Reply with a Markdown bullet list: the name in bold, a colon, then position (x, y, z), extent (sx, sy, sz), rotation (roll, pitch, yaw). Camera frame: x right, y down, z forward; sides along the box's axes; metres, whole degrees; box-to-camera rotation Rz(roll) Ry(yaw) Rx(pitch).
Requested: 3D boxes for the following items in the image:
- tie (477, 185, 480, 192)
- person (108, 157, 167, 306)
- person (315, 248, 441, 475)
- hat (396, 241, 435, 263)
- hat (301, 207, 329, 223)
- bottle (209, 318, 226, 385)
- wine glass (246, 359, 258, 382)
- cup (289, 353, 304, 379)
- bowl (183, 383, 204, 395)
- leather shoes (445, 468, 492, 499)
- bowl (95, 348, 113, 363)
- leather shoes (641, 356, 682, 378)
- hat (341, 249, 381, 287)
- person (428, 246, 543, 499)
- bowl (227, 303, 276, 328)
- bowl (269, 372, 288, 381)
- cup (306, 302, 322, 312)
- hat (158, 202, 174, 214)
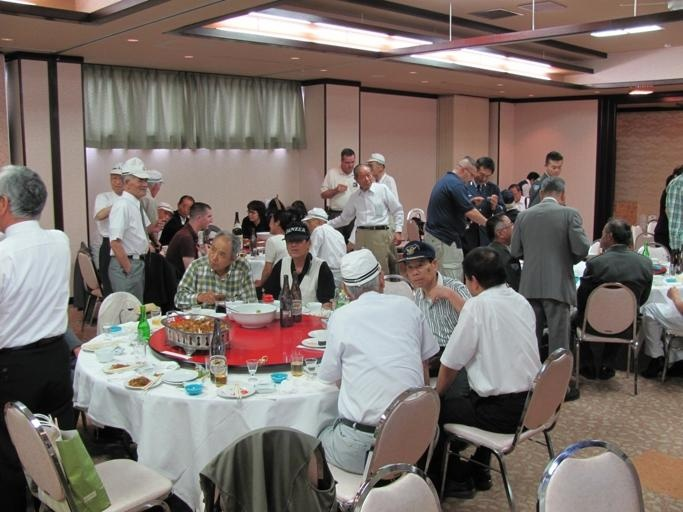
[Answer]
- **tie**: position (1.716, -0.851, 6.899), extent (0.050, 0.078, 0.019), rotation (-3, -7, -5)
- **person**: position (-2.017, -0.205, 5.447), extent (0.553, 2.011, 0.739), rotation (0, 37, -17)
- **person**: position (0.166, 0.618, 2.723), extent (0.558, 0.833, 0.389), rotation (2, 11, 3)
- **hat**: position (0.475, -0.035, 3.533), extent (0.224, 0.124, 0.179), rotation (5, 5, 21)
- **hat**: position (-0.258, -0.420, 5.903), extent (0.219, 0.128, 0.177), rotation (4, 4, -7)
- **bottle**: position (-0.673, 0.498, 2.991), extent (0.091, 0.277, 0.393), rotation (-2, 12, -14)
- **wine glass**: position (-0.462, 0.601, 2.895), extent (0.087, 0.126, 0.096), rotation (0, -1, -2)
- **cup**: position (-0.237, 0.588, 2.954), extent (0.109, 0.147, 0.093), rotation (1, -3, -20)
- **bowl**: position (-0.746, 0.669, 2.788), extent (0.091, 0.040, 0.100), rotation (1, 11, 0)
- **leather shoes**: position (0.763, 1.405, 3.424), extent (0.344, 0.164, 0.122), rotation (1, -1, -10)
- **bowl**: position (-1.355, 0.567, 3.155), extent (0.079, 0.056, 0.068), rotation (-13, -3, 22)
- **leather shoes**: position (2.981, 1.056, 5.267), extent (0.215, 0.093, 0.295), rotation (0, 3, 4)
- **hat**: position (0.082, 0.058, 2.941), extent (0.171, 0.127, 0.237), rotation (17, 27, 12)
- **person**: position (0.824, 0.726, 3.149), extent (0.559, 1.512, 0.444), rotation (5, 12, 21)
- **bowl**: position (-0.585, 0.372, 3.556), extent (0.186, 0.075, 0.199), rotation (-1, 2, 0)
- **bowl**: position (-0.329, 0.640, 2.929), extent (0.085, 0.023, 0.129), rotation (0, 12, -7)
- **cup**: position (-0.200, 0.366, 3.937), extent (0.067, 0.075, 0.101), rotation (-1, -4, -7)
- **hat**: position (-2.278, -0.626, 7.144), extent (0.240, 0.119, 0.294), rotation (18, -6, -22)
